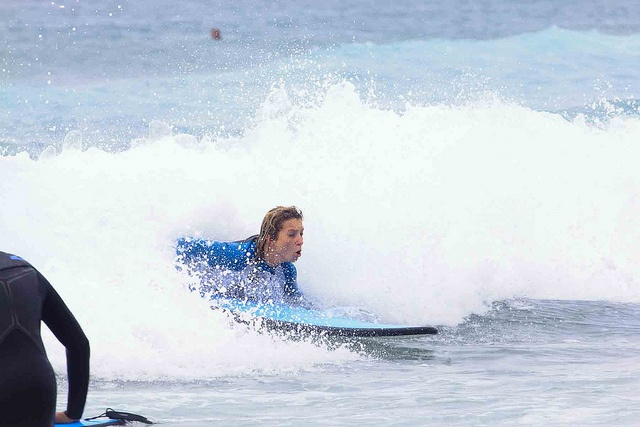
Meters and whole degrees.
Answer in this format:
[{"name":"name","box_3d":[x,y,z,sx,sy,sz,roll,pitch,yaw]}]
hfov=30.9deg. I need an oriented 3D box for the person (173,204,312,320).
[{"name":"person","box_3d":[-1.084,0.669,17.711,1.971,0.933,1.383,9,-9,33]}]
